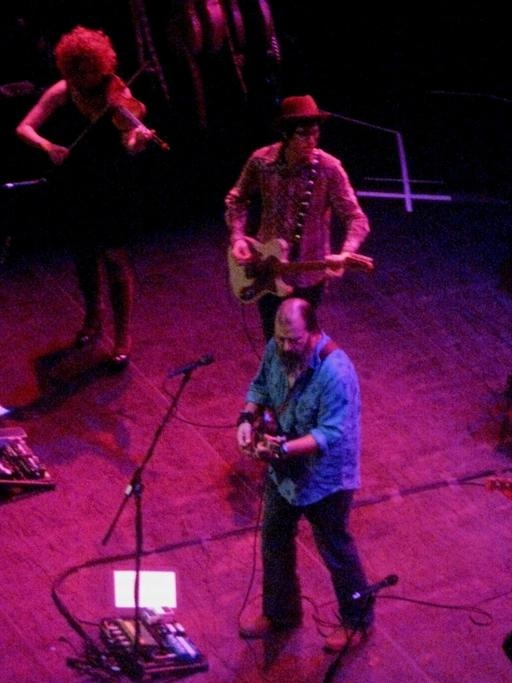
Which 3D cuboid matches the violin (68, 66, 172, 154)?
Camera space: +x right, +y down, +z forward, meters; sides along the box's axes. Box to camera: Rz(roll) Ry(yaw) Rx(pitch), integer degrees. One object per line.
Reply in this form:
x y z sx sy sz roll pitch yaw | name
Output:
-0.736 -1.241 3.781 0.471 0.512 0.070 -51 17 -7 | violin

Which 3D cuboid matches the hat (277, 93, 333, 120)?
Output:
0.219 -1.120 3.305 0.174 0.070 0.198 -13 14 -40 | hat

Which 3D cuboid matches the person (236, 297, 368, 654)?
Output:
0.201 0.566 3.021 0.588 1.498 0.509 -2 11 7 | person

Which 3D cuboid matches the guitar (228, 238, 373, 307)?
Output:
0.222 -0.331 3.380 0.727 0.069 0.299 -6 32 42 | guitar

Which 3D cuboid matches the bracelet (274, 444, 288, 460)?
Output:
0.100 0.443 2.745 0.042 0.055 0.014 4 -2 9 | bracelet
